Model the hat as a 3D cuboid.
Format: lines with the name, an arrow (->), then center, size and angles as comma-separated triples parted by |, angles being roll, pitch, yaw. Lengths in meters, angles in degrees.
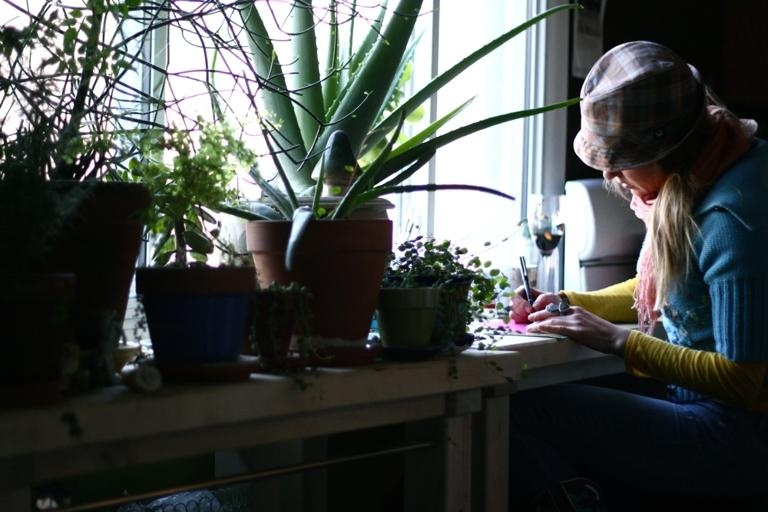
hat -> 0.570, -0.317, 1.431 | 0.265, 0.356, 0.178 | -6, -34, 34

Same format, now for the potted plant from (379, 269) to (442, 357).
potted plant -> 0.041, 0.089, 1.069 | 0.105, 0.090, 0.101 | -8, -12, 44

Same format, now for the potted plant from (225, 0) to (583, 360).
potted plant -> 0.031, -0.165, 1.283 | 0.650, 0.615, 0.683 | 1, -10, 10

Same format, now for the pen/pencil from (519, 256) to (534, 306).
pen/pencil -> 0.383, 0.076, 1.704 | 0.016, 0.125, 0.014 | -12, 3, -30

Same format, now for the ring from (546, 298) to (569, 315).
ring -> 0.423, 0.126, 1.527 | 0.047, 0.026, 0.038 | 0, 12, 9
